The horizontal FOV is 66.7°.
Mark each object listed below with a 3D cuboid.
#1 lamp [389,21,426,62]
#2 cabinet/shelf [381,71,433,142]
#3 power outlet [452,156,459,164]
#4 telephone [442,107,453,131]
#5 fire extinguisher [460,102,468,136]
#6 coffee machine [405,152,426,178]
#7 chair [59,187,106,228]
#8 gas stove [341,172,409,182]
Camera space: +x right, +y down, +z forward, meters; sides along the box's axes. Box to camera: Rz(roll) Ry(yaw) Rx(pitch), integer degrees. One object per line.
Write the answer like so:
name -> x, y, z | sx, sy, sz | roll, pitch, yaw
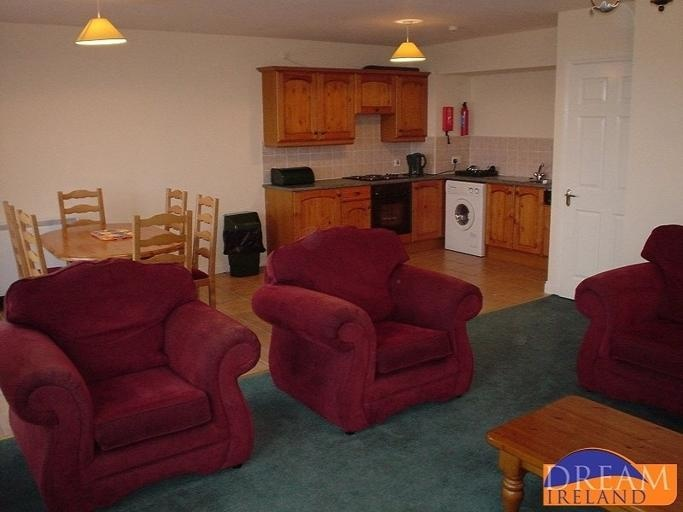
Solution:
lamp -> 0.698, -2.267, 5.436 | 0.414, 0.350, 0.371 | 7, 28, 18
cabinet/shelf -> 0.926, -2.198, 7.618 | 0.699, 0.976, 0.361 | -2, 12, 1
power outlet -> 1.779, -1.516, 8.134 | 0.150, 0.120, 0.076 | -4, 3, -31
telephone -> 1.606, -2.068, 7.833 | 0.178, 0.394, 0.089 | -6, 13, -16
fire extinguisher -> 1.921, -2.140, 8.056 | 0.091, 0.518, 0.253 | 5, 14, 30
coffee machine -> 1.144, -1.399, 7.926 | 0.320, 0.338, 0.382 | 0, 12, 8
chair -> -2.775, -0.522, 5.499 | 0.405, 0.363, 1.182 | -8, 13, -26
gas stove -> 0.508, -1.132, 7.493 | 0.955, 0.078, 0.558 | -7, 12, -28
